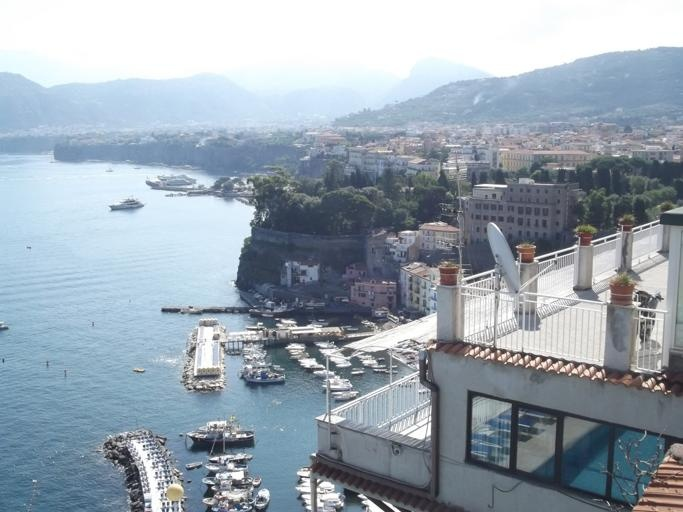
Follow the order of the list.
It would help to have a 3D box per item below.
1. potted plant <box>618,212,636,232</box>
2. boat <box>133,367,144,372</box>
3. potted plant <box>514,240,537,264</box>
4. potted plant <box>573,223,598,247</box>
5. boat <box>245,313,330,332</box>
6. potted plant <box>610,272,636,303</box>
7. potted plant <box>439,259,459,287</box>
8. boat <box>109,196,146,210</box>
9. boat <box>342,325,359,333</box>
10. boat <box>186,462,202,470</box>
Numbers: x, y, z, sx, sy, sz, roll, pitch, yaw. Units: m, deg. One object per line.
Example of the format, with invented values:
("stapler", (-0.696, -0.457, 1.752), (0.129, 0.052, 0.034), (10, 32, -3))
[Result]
("potted plant", (4.107, -0.471, 11.503), (0.191, 0.271, 0.488), (0, 10, 18))
("boat", (-8.722, 4.984, 34.348), (0.509, 0.093, 0.521), (-7, 10, -19))
("potted plant", (2.314, -0.041, 10.002), (0.271, 0.218, 0.284), (2, 4, 9))
("potted plant", (3.330, -0.302, 10.931), (0.317, 0.341, 0.319), (-5, 9, -31))
("boat", (-3.127, 3.640, 43.092), (4.666, 0.335, 2.977), (-1, 10, 12))
("potted plant", (2.816, 0.343, 8.071), (0.270, 0.296, 0.265), (0, 3, 12))
("potted plant", (1.168, 0.194, 8.673), (0.213, 0.232, 0.268), (-2, 10, 7))
("boat", (-24.609, -5.817, 91.035), (2.162, 1.058, 4.352), (1, 10, 23))
("boat", (0.421, 3.833, 41.532), (0.811, 0.077, 1.397), (-4, 10, -2))
("boat", (-4.765, 6.827, 25.656), (0.309, 0.079, 0.225), (-7, 19, -22))
